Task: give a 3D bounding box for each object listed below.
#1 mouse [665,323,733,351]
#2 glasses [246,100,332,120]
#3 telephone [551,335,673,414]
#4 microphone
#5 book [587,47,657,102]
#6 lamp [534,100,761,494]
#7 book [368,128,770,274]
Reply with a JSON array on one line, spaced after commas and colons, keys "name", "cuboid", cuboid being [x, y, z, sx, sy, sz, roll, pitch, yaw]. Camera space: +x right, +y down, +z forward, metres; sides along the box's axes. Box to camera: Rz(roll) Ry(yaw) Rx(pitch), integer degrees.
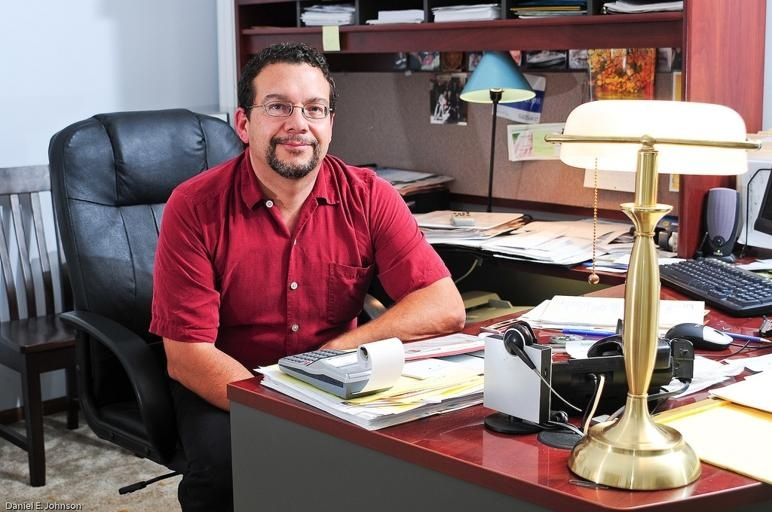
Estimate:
[{"name": "mouse", "cuboid": [0.695, 0.178, 1.335, 0.148, 0.046, 0.082, -1, 10, -12]}, {"name": "glasses", "cuboid": [-0.252, -0.383, 1.601, 0.190, 0.052, 0.059, -5, 13, -14]}, {"name": "telephone", "cuboid": [0.395, 0.211, 1.063, 0.180, 0.073, 0.157, -4, 11, -12]}, {"name": "microphone", "cuboid": [0.266, 0.216, 1.063, 0.036, 0.066, 0.145, 25, -14, 5]}, {"name": "book", "cuboid": [1.015, -0.732, 2.479, 0.169, 0.197, 0.306, 4, 11, -38]}, {"name": "lamp", "cuboid": [0.434, 0.022, 1.005, 0.330, 0.559, 0.448, 1, 13, 14]}, {"name": "book", "cuboid": [0.612, -0.161, 2.001, 0.752, 0.451, 0.050, 3, 11, 14]}]
